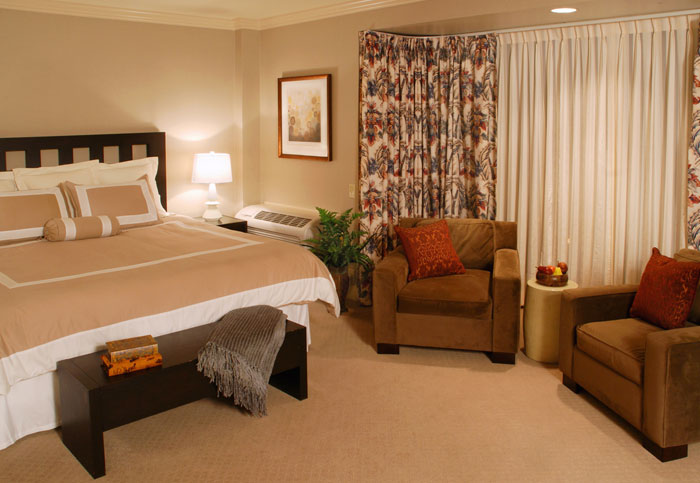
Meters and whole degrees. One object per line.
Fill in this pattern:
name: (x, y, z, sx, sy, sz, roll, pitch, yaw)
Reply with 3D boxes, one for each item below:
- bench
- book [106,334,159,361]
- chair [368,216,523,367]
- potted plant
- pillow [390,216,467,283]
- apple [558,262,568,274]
bench: (-1.173, 0.978, 3.571, 1.645, 0.645, 0.745, -13, 17, -35)
book: (-1.389, 0.670, 3.172, 0.209, 0.053, 0.141, -4, 8, -34)
chair: (0.968, 0.229, 4.811, 1.309, 1.165, 1.272, 2, 12, 12)
potted plant: (-0.294, 0.145, 5.568, 0.952, 1.164, 0.967, -6, 8, -43)
pillow: (0.741, 0.070, 4.657, 0.540, 0.551, 0.168, -6, -19, -23)
apple: (1.887, 0.230, 4.367, 0.099, 0.114, 0.142, 0, -5, 10)
